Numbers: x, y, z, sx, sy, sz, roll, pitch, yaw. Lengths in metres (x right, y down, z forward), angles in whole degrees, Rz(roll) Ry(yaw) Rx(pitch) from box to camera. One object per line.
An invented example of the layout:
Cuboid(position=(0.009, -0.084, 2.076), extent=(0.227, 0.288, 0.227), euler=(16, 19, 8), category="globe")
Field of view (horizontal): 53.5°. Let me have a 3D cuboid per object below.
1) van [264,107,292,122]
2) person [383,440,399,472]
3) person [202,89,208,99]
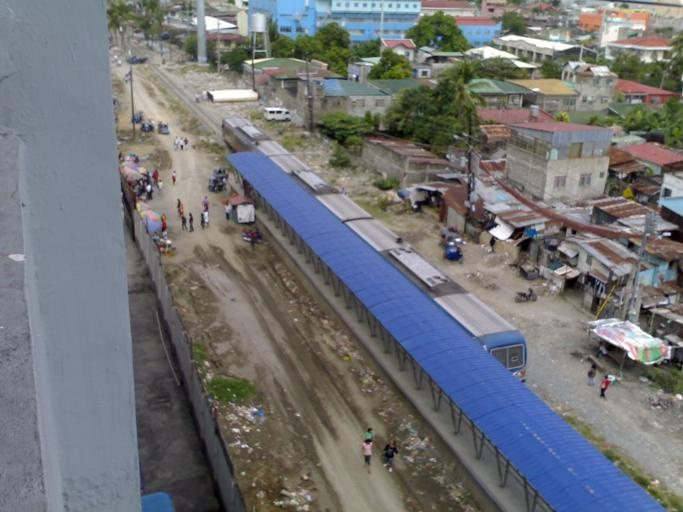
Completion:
Cuboid(position=(-5.202, -11.527, 54.848), extent=(1.774, 0.934, 1.127), euler=(0, 37, -6), category="van")
Cuboid(position=(1.438, 5.759, 19.905), extent=(0.427, 0.805, 0.759), euler=(4, 21, 6), category="person")
Cuboid(position=(-12.644, -14.777, 62.178), extent=(0.395, 0.993, 0.870), euler=(-1, 17, 5), category="person")
